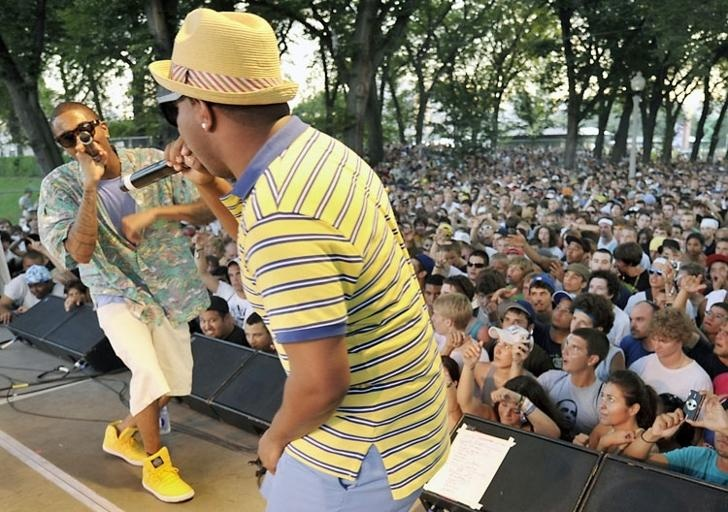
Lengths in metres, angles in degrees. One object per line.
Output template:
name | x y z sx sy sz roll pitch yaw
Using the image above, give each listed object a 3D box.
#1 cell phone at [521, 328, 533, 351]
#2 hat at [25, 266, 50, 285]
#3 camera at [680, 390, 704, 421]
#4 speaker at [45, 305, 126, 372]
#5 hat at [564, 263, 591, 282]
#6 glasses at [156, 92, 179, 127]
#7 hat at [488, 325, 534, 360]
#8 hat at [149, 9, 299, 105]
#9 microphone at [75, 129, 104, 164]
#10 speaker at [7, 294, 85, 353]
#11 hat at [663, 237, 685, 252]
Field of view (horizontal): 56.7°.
cell phone | 1.045 0.557 4.447 0.120 0.114 0.151 6 13 11
hat | -3.237 0.197 6.707 0.178 0.184 0.209 -4 -1 8
camera | 1.968 0.893 4.044 0.055 0.199 0.146 26 -11 -15
speaker | -2.333 0.689 5.587 0.758 0.212 0.482 19 68 43
hat | 1.745 0.121 5.489 0.204 0.099 0.207 14 20 39
glasses | -0.729 -0.548 2.503 0.104 0.119 0.132 -1 28 -18
hat | 0.979 0.532 4.491 0.263 0.127 0.334 1 16 2
hat | -0.504 -0.691 2.398 0.433 0.209 0.326 8 18 34
microphone | -1.539 -0.612 3.770 0.091 0.181 0.126 8 18 23
speaker | -2.881 0.558 6.021 0.497 0.137 0.515 -42 37 -26
hat | 2.491 -0.097 5.442 0.120 0.101 0.112 9 1 37
